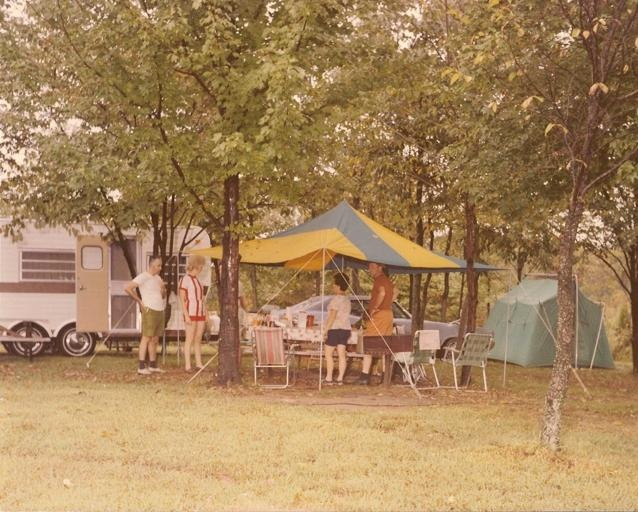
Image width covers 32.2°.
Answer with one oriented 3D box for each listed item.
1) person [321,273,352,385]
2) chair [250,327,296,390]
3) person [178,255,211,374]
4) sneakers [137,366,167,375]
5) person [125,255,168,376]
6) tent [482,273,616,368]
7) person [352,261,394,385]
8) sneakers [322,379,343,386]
[{"bbox_3d":[0.354,1.380,20.373,0.449,2.097,0.691,6,10,28],"label":"person"},{"bbox_3d":[-0.861,1.963,19.946,0.550,1.141,0.804,0,-33,-8],"label":"chair"},{"bbox_3d":[-2.429,1.167,21.297,0.505,2.353,0.787,0,9,-8],"label":"person"},{"bbox_3d":[-3.203,2.219,21.203,0.531,0.266,0.201,2,0,-12],"label":"sneakers"},{"bbox_3d":[-3.278,1.184,21.163,0.649,2.360,1.225,0,9,-9],"label":"person"},{"bbox_3d":[5.525,1.717,26.876,2.382,2.164,2.717,3,-4,-21],"label":"tent"},{"bbox_3d":[1.094,1.345,20.833,0.602,2.276,1.543,2,9,2],"label":"person"},{"bbox_3d":[0.239,2.367,20.588,0.127,0.177,0.342,3,-1,-36],"label":"sneakers"}]
